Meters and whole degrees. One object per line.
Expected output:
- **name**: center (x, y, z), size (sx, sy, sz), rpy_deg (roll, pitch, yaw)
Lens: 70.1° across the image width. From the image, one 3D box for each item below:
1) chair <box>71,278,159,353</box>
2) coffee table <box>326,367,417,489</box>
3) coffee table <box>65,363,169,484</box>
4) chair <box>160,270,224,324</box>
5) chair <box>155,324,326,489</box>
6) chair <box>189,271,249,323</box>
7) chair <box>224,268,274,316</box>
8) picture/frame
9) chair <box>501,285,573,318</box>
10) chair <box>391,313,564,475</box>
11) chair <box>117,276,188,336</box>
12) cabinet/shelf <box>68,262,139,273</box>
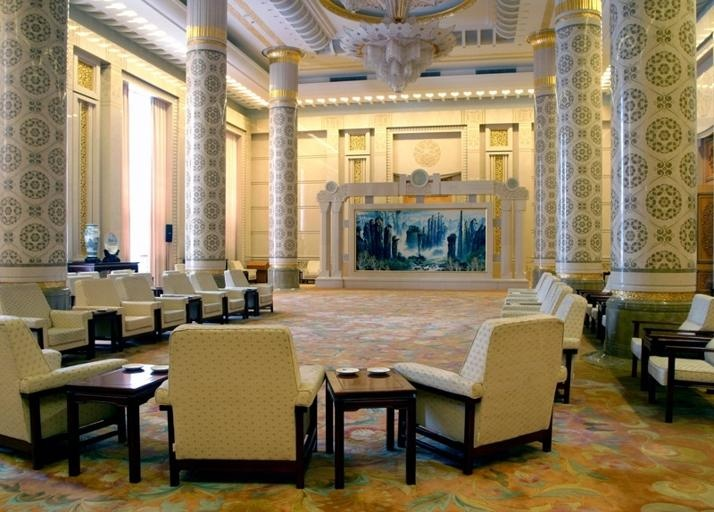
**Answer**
- **chair**: center (-3.741, 0.835, 7.884), size (1.127, 0.892, 1.082), rpy_deg (1, 1, 1)
- **coffee table**: center (0.317, 1.332, 3.982), size (0.585, 0.625, 1.049), rpy_deg (-7, -12, 23)
- **coffee table**: center (-1.830, 1.251, 3.867), size (0.661, 0.658, 0.524), rpy_deg (0, 4, 9)
- **chair**: center (-3.108, 0.828, 9.549), size (1.221, 0.903, 1.209), rpy_deg (-1, 2, -26)
- **chair**: center (-0.708, 1.030, 4.004), size (1.134, 1.096, 1.178), rpy_deg (0, -2, 6)
- **chair**: center (-2.867, 0.798, 10.430), size (1.000, 1.139, 1.024), rpy_deg (0, 2, 7)
- **chair**: center (-2.381, 0.804, 11.401), size (0.839, 0.945, 1.025), rpy_deg (-1, 1, 21)
- **picture/frame**: center (2.177, -0.576, 17.575), size (4.410, 2.138, 0.608), rpy_deg (0, 4, 3)
- **chair**: center (2.339, 0.620, 6.591), size (0.750, 0.419, 0.693), rpy_deg (-1, -1, 11)
- **chair**: center (1.049, 1.057, 4.203), size (1.243, 1.045, 0.901), rpy_deg (5, -8, -37)
- **chair**: center (-3.420, 0.810, 8.683), size (1.172, 1.080, 1.075), rpy_deg (0, 1, 11)
- **cabinet/shelf**: center (-6.537, 0.270, 13.176), size (0.821, 0.282, 1.663), rpy_deg (1, 4, 21)
